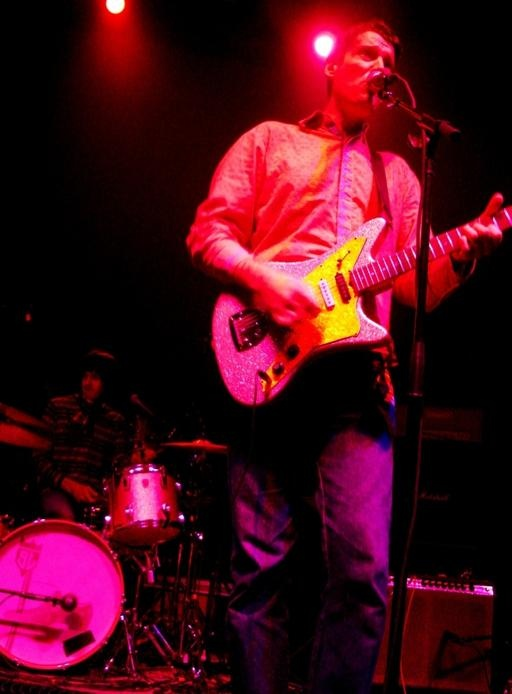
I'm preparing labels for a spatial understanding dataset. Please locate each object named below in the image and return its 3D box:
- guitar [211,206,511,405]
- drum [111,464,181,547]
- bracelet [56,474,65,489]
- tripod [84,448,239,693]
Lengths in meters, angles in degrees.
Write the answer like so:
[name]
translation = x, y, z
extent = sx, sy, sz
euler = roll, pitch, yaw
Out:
[guitar]
translation = 0.374, -0.156, 2.226
extent = 0.889, 0.382, 0.136
euler = -27, -17, 6
[drum]
translation = -0.652, 0.878, 3.834
extent = 0.380, 0.376, 0.419
euler = 5, -43, -24
[bracelet]
translation = -1.294, 0.885, 4.515
extent = 0.055, 0.091, 0.031
euler = 1, -18, 22
[tripod]
translation = -0.439, 1.210, 4.162
extent = 1.135, 1.318, 0.964
euler = 12, -14, -40
